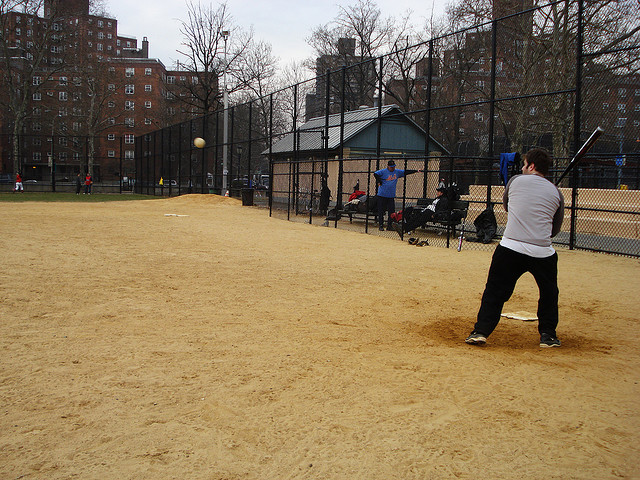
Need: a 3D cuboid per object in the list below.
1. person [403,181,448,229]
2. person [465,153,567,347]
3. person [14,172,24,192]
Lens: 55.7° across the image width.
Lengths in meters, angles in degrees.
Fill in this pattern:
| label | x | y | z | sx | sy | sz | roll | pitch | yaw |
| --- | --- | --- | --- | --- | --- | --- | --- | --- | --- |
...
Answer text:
| label | x | y | z | sx | sy | sz | roll | pitch | yaw |
| --- | --- | --- | --- | --- | --- | --- | --- | --- | --- |
| person | 2.727 | -0.959 | 16.365 | 1.605 | 0.992 | 0.805 | -10 | 16 | -10 |
| person | 2.356 | 0.109 | 7.114 | 1.038 | 2.200 | 0.798 | 2 | 13 | 4 |
| person | -20.432 | -3.774 | 40.862 | 0.491 | 1.167 | 1.742 | -5 | 15 | -25 |
